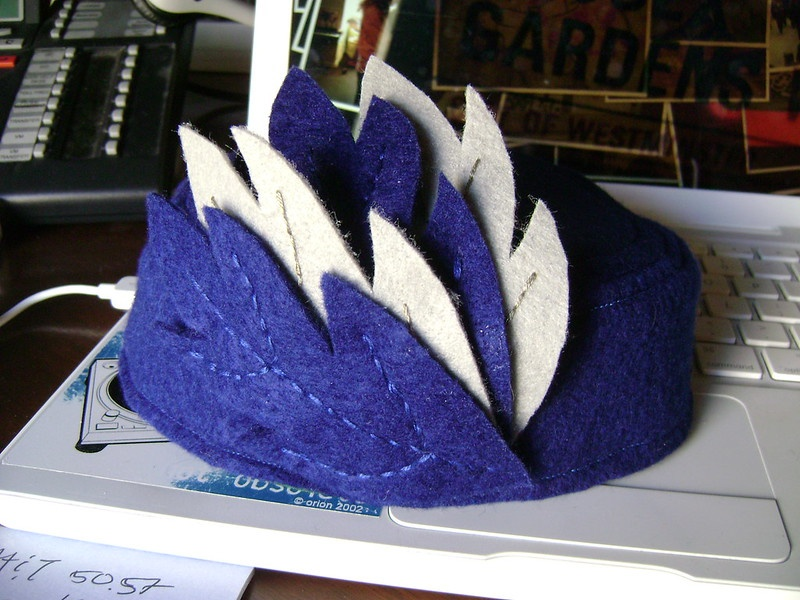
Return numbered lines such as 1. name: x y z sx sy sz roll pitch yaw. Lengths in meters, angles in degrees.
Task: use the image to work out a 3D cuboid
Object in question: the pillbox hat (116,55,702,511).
1. pillbox hat: 0.006 -0.002 0.541 0.312 0.227 0.342 16 25 20
